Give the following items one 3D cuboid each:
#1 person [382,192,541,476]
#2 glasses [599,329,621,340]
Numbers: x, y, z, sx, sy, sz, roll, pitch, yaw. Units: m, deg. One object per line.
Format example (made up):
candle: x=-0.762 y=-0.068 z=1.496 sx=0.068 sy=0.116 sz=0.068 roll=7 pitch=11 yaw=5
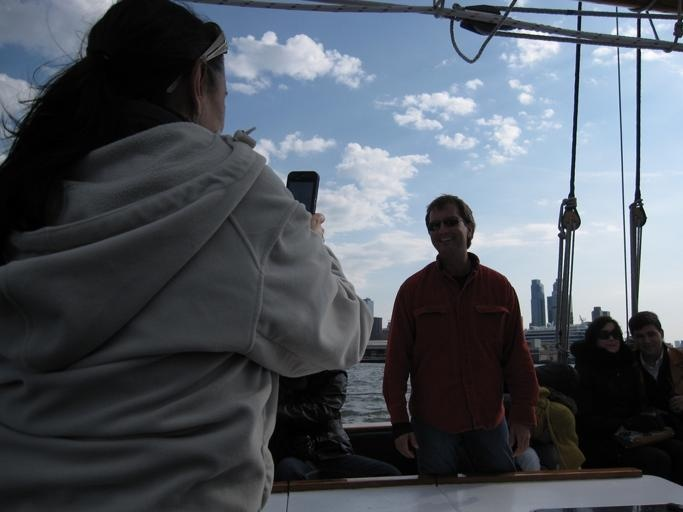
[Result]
person: x=0.638 y=0.390 z=3.216 sx=0.788 sy=1.448 sz=0.608 roll=2 pitch=2 yaw=28
glasses: x=2.126 y=0.629 z=4.738 sx=0.098 sy=0.043 sz=0.103 roll=0 pitch=-24 yaw=13
